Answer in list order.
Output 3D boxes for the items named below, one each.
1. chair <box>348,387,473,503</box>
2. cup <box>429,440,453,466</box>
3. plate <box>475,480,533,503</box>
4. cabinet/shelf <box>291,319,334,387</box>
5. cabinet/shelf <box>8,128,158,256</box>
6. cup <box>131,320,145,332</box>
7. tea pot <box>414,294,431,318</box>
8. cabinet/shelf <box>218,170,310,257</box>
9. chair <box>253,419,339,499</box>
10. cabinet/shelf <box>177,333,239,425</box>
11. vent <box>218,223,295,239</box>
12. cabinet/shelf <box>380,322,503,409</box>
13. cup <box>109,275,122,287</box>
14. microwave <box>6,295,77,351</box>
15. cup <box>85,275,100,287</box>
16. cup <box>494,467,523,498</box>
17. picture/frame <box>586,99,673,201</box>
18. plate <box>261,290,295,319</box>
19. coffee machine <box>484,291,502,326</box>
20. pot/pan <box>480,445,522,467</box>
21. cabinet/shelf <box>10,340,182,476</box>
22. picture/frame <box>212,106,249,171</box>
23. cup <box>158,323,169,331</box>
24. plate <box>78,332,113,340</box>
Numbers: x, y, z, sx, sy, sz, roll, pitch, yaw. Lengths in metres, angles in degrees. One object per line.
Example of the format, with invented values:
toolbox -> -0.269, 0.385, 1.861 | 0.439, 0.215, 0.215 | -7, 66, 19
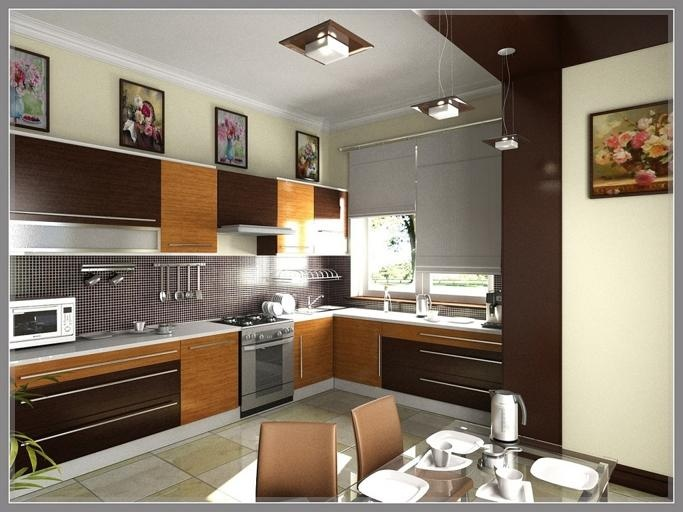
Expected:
chair -> 0.363, 0.964, 2.440 | 0.577, 0.419, 0.398 | -2, -1, 36
cup -> 0.503, 0.977, 2.334 | 0.104, 0.074, 0.083 | -9, 9, -41
plate -> 0.728, 1.048, 2.071 | 0.217, 0.030, 0.213 | -3, -3, 20
cabinet/shelf -> -0.252, 1.231, 5.634 | 0.501, 0.782, 0.868 | -8, -18, 11
cabinet/shelf -> -2.060, -0.477, 3.669 | 0.384, 0.811, 1.135 | -2, -2, 43
cup -> -1.824, 0.638, 4.187 | 0.096, 0.072, 0.089 | 1, -5, 0
tea pot -> 0.928, 0.546, 5.225 | 0.161, 0.227, 0.451 | -2, 1, 16
cabinet/shelf -> -0.656, -0.445, 5.237 | 1.359, 0.822, 0.421 | 5, 4, 18
chair -> -0.228, 1.053, 2.416 | 0.406, 0.251, 0.117 | -2, 1, 2
cabinet/shelf -> -1.169, 1.192, 4.491 | 0.592, 0.783, 0.522 | -13, -26, 5
vent -> -0.889, -0.262, 4.901 | 0.379, 0.090, 0.887 | -1, 1, 33
cabinet/shelf -> 1.270, 1.142, 4.931 | 1.561, 0.738, 0.852 | 2, 0, 39
cup -> -2.003, 0.216, 4.165 | 0.127, 0.090, 0.070 | -3, 1, -40
microwave -> -2.178, 0.497, 3.384 | 0.299, 0.409, 0.561 | -3, -4, 43
cup -> -2.132, 0.219, 4.005 | 0.103, 0.081, 0.037 | -31, 22, 7
cup -> 0.763, 1.035, 2.132 | 0.098, 0.074, 0.105 | -2, -8, 0
picture/frame -> 2.165, -0.794, 3.455 | 0.026, 0.664, 0.716 | -13, 10, -19
plate -> -0.752, 0.560, 5.393 | 0.349, 0.230, 0.136 | 4, -6, -35
coffee machine -> 1.492, 0.505, 4.649 | 0.116, 0.313, 0.181 | -3, 2, -38
pot/pan -> 0.794, 0.995, 2.359 | 0.084, 0.063, 0.159 | 3, -5, -40
cabinet/shelf -> -2.065, 1.141, 3.849 | 0.716, 0.756, 1.310 | -6, -3, 38
picture/frame -> -1.189, -1.260, 5.050 | 0.029, 0.472, 0.410 | -1, 2, 42
cup -> -1.593, 0.642, 4.168 | 0.080, 0.053, 0.078 | 0, -2, 0
plate -> -2.068, 0.674, 3.927 | 0.241, 0.033, 0.275 | -1, 1, 42
